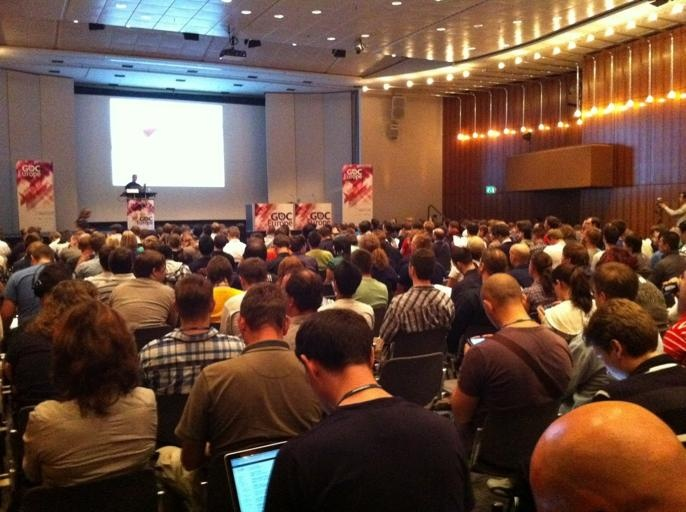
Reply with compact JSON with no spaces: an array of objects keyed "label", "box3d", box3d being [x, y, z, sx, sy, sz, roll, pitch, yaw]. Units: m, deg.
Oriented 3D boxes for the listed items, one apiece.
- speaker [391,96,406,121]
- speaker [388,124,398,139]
[{"label":"speaker","box3d":[1.842,-4.988,18.552,0.442,0.774,0.158,-4,6,-22]},{"label":"speaker","box3d":[1.679,-4.234,18.633,0.378,0.625,0.296,0,14,-7]}]
